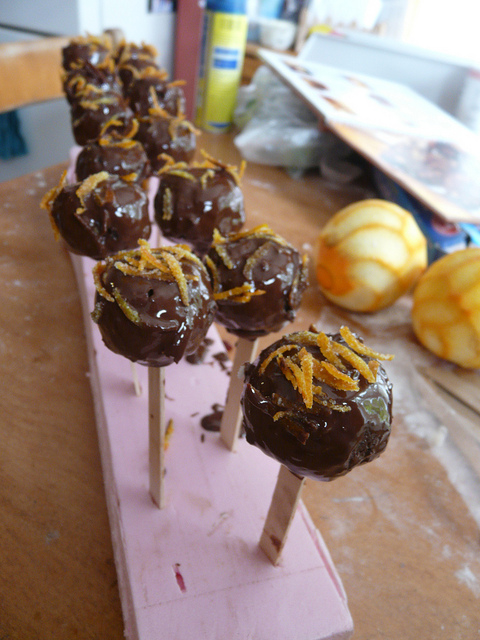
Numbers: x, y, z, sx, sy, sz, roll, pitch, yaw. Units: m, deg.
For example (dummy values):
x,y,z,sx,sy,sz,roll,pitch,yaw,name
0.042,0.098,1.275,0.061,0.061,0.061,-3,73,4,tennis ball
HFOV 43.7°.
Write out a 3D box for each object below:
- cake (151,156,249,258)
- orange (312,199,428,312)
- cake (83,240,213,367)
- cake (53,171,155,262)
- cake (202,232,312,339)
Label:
x,y,z,sx,sy,sz,roll,pitch,yaw,name
-0.045,-0.137,0.741,0.115,0.119,0.128,15,30,26,cake
0.186,-0.086,0.843,0.118,0.141,0.118,-17,70,-42,orange
-0.084,-0.005,0.554,0.115,0.113,0.097,-26,93,-24,cake
-0.160,-0.110,0.692,0.102,0.083,0.077,-10,36,-29,cake
0.015,-0.035,0.636,0.128,0.110,0.107,-6,27,-18,cake
